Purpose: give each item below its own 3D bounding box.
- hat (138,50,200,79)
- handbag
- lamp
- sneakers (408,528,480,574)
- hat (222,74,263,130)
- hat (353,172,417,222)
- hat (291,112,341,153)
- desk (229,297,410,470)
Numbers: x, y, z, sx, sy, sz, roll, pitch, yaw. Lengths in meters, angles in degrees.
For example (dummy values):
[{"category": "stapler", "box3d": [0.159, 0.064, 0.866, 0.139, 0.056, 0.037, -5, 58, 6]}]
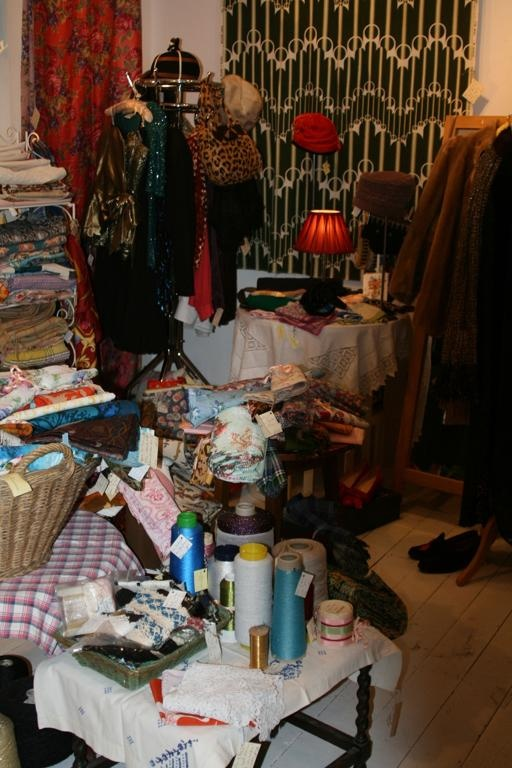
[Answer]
[{"category": "hat", "box3d": [-0.460, -1.710, 3.184, 0.250, 0.131, 0.177, 13, 44, 9]}, {"category": "handbag", "box3d": [-0.174, -1.213, 3.156, 0.338, 0.347, 0.167, -22, 0, -34]}, {"category": "lamp", "box3d": [0.392, -0.716, 3.362, 0.285, 0.466, 0.269, -6, 25, -12]}, {"category": "sneakers", "box3d": [0.881, 0.782, 2.761, 0.245, 0.086, 0.177, -10, 11, -20]}, {"category": "hat", "box3d": [-0.092, -1.577, 3.321, 0.099, 0.249, 0.272, 12, 11, 40]}, {"category": "hat", "box3d": [0.689, -1.034, 3.274, 0.321, 0.230, 0.229, -7, 28, -44]}, {"category": "hat", "box3d": [0.340, -1.416, 3.395, 0.196, 0.103, 0.279, 0, 36, -19]}, {"category": "desk", "box3d": [0.432, -0.086, 3.416, 0.949, 0.742, 0.970, 3, 9, -23]}]
